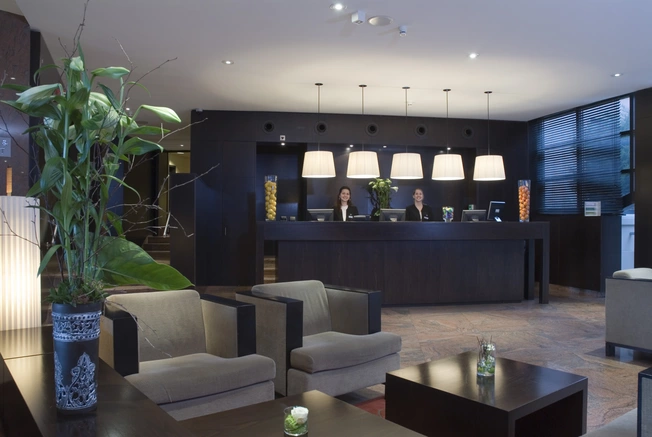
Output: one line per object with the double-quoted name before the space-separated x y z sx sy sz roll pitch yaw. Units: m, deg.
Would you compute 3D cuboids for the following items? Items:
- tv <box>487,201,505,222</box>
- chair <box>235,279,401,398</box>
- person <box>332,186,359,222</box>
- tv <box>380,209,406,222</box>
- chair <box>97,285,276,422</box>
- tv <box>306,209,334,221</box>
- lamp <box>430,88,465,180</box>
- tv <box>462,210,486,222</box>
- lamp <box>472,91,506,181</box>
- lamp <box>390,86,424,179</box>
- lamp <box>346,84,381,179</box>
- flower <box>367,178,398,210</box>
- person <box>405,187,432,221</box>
"tv" 2.804 -0.105 8.258 0.330 0.357 0.176 6 0 -6
"chair" -0.081 1.055 4.628 1.231 0.882 1.180 0 -1 43
"person" 0.322 -0.246 8.528 0.391 0.545 0.891 -2 2 5
"tv" 1.044 -0.040 7.922 0.352 0.189 0.480 -1 2 26
"chair" -1.170 1.118 3.936 1.254 0.995 1.254 1 -4 -31
"tv" -0.071 -0.049 7.993 0.385 0.182 0.791 -2 2 -2
"lamp" 2.099 -1.345 8.731 0.466 1.372 1.872 -1 2 13
"tv" 2.394 -0.036 8.065 0.509 0.174 0.338 -2 2 -7
"lamp" 2.883 -1.346 8.875 0.501 1.372 2.123 -1 2 19
"lamp" 1.354 -1.346 8.493 0.486 1.363 1.636 -1 2 11
"lamp" 0.596 -1.341 8.267 0.471 1.363 1.445 -2 2 4
"flower" 1.016 -0.457 9.264 0.580 0.776 0.593 1 -4 3
"person" 1.644 -0.240 8.995 0.581 0.794 0.377 1 -10 -3
